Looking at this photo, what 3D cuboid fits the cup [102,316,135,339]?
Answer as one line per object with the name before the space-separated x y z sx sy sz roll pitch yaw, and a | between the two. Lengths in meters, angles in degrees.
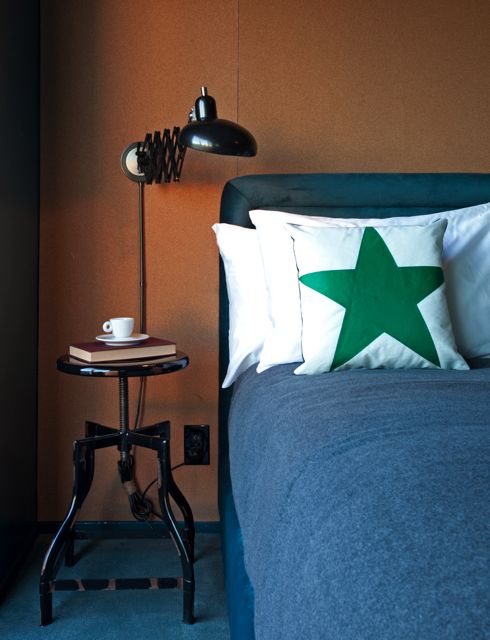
cup | -0.347 0.016 1.821 0.093 0.052 0.068 -1 7 4
